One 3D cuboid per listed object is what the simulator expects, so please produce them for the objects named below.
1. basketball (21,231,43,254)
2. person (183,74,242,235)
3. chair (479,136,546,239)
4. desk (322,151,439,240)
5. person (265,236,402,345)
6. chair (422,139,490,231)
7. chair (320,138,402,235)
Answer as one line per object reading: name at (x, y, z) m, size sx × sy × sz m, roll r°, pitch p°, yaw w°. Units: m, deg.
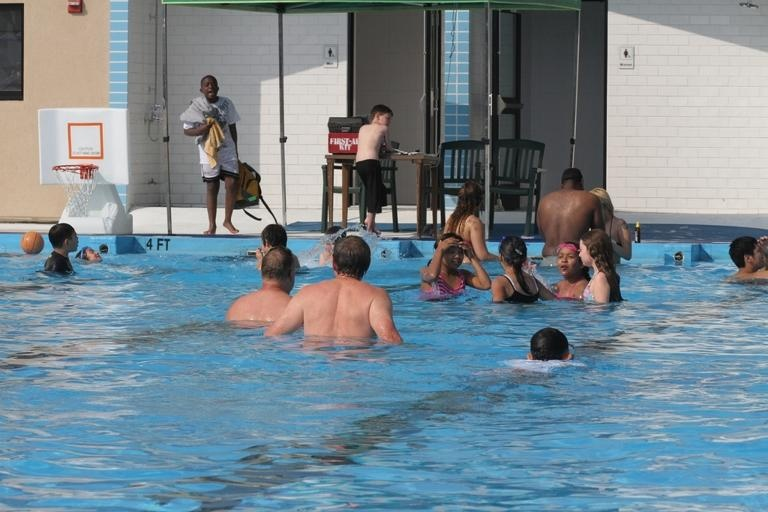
basketball at (-4.646, -0.188, 15.749) m, size 0.284 × 0.320 × 0.285 m, roll -14°, pitch -7°, yaw 32°
person at (-2.372, -1.367, 16.282) m, size 0.715 × 2.024 × 0.680 m, roll -2°, pitch 15°, yaw -8°
chair at (1.781, -0.928, 16.427) m, size 0.962 × 1.204 × 0.927 m, roll -3°, pitch 11°, yaw -24°
desk at (-0.128, -0.877, 16.970) m, size 1.658 × 1.035 × 1.637 m, roll -1°, pitch 1°, yaw -11°
person at (-0.524, 0.360, 11.670) m, size 0.843 × 1.176 × 0.428 m, roll 10°, pitch 38°, yaw 1°
chair at (1.058, -0.948, 16.433) m, size 0.947 × 1.229 × 0.935 m, roll 0°, pitch 6°, yaw -16°
chair at (-0.496, -0.883, 16.779) m, size 0.925 × 0.824 × 0.719 m, roll 0°, pitch 11°, yaw 39°
